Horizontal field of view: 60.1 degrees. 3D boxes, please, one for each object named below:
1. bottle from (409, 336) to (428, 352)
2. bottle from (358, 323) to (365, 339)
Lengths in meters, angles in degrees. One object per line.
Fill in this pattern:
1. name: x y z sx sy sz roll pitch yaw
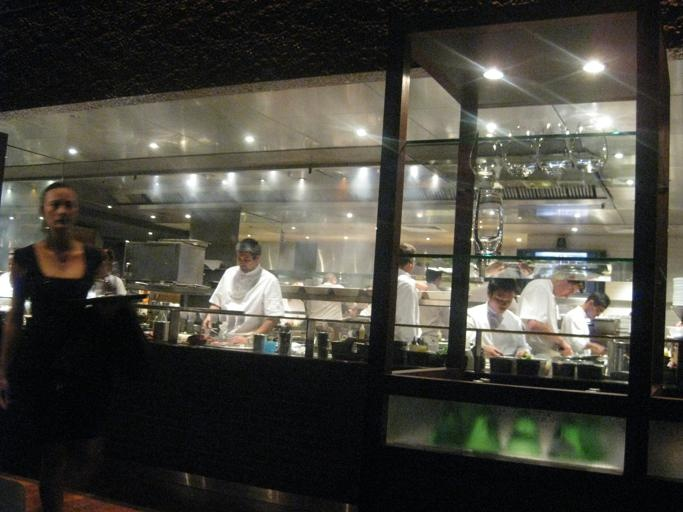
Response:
1. bottle: 0.329 0.372 2.507 0.078 0.042 0.068 4 -15 -11
2. bottle: 0.092 0.341 2.663 0.035 0.045 0.035 3 -1 0
